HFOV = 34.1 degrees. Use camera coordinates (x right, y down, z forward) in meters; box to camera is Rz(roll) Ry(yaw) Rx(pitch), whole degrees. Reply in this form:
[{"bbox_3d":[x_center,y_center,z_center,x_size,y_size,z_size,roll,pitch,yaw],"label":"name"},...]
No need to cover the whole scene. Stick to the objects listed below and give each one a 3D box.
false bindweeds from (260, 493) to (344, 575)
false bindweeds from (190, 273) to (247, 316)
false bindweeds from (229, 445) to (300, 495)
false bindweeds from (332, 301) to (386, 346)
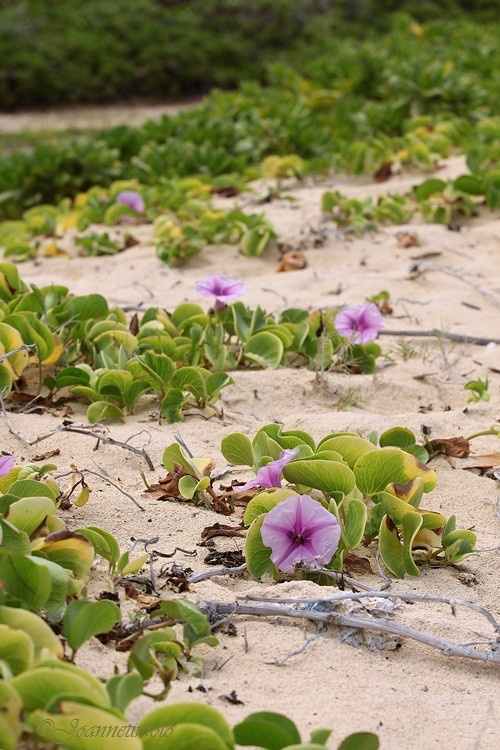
[{"bbox_3d":[0.072,0.245,1.261,0.121,0.037,0.117,-2,23,1],"label":"false bindweeds"},{"bbox_3d":[-0.091,-0.245,2.417,0.134,0.113,0.227,-1,19,-4],"label":"false bindweeds"},{"bbox_3d":[0.040,0.169,1.447,0.113,0.096,0.081,12,24,28],"label":"false bindweeds"},{"bbox_3d":[0.283,-0.127,2.133,0.114,0.116,0.086,-10,24,-27],"label":"false bindweeds"}]
